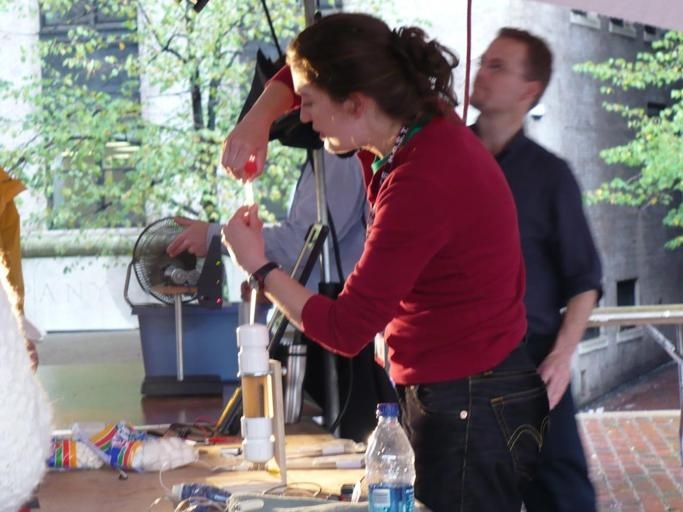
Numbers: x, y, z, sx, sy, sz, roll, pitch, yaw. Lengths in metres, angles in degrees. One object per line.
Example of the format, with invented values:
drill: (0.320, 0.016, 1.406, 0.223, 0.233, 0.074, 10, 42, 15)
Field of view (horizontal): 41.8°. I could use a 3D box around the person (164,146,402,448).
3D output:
person: (-0.386, 0.186, 4.709, 1.094, 2.107, 1.100, 2, 2, -5)
